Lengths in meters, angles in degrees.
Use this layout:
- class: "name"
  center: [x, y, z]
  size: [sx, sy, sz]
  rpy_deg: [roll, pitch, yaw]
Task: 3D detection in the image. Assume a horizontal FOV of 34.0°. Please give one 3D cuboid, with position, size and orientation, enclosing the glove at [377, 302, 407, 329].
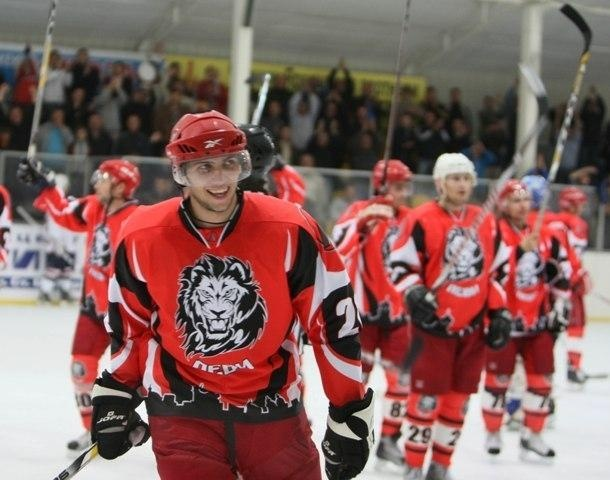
- class: "glove"
  center: [0.545, 0.473, 6.333]
  size: [0.140, 0.175, 0.062]
  rpy_deg: [2, 46, 6]

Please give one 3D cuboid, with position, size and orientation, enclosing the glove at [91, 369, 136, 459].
- class: "glove"
  center: [-0.770, 0.676, 4.002]
  size: [0.186, 0.343, 0.131]
  rpy_deg: [-7, 1, -6]

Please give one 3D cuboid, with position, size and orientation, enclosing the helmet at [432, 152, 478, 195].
- class: "helmet"
  center: [0.825, -0.376, 5.630]
  size: [0.173, 0.156, 0.195]
  rpy_deg: [2, -9, -1]

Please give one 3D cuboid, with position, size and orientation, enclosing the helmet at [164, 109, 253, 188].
- class: "helmet"
  center: [-0.380, -0.378, 3.906]
  size: [0.264, 0.300, 0.311]
  rpy_deg: [-3, -12, -14]

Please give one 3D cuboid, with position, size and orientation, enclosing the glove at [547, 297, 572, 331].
- class: "glove"
  center: [1.586, 0.470, 6.249]
  size: [0.121, 0.222, 0.089]
  rpy_deg: [10, -15, 18]

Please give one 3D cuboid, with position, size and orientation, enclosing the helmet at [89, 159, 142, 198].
- class: "helmet"
  center: [-1.216, -0.395, 6.494]
  size: [0.267, 0.258, 0.404]
  rpy_deg: [-8, 6, 4]

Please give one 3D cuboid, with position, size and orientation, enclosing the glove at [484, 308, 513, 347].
- class: "glove"
  center: [1.075, 0.485, 5.534]
  size: [0.121, 0.230, 0.092]
  rpy_deg: [11, -15, 6]

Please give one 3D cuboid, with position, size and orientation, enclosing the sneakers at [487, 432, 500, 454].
- class: "sneakers"
  center: [1.178, 1.262, 6.238]
  size: [0.082, 0.128, 0.114]
  rpy_deg: [1, 29, 8]

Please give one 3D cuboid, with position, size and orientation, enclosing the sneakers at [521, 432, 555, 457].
- class: "sneakers"
  center: [1.445, 1.281, 6.256]
  size: [0.216, 0.169, 0.074]
  rpy_deg: [16, 24, 36]
